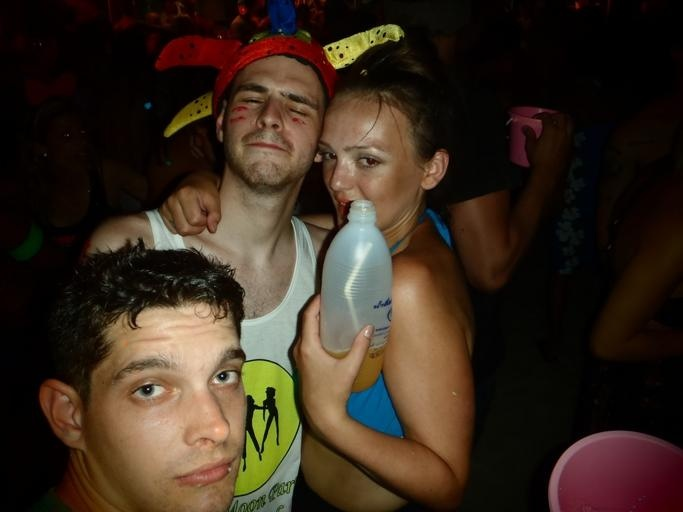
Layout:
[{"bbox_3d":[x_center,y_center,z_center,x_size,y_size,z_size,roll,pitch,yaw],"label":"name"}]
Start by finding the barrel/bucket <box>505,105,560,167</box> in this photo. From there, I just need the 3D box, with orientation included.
[{"bbox_3d":[1.473,-0.962,4.789,0.407,0.434,0.463,3,24,12],"label":"barrel/bucket"}]

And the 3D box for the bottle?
[{"bbox_3d":[0.077,0.250,3.550,0.413,1.069,0.398,0,29,0],"label":"bottle"}]

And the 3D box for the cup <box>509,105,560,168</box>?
[{"bbox_3d":[1.542,-0.993,4.931,0.408,0.433,0.462,5,25,15],"label":"cup"}]
